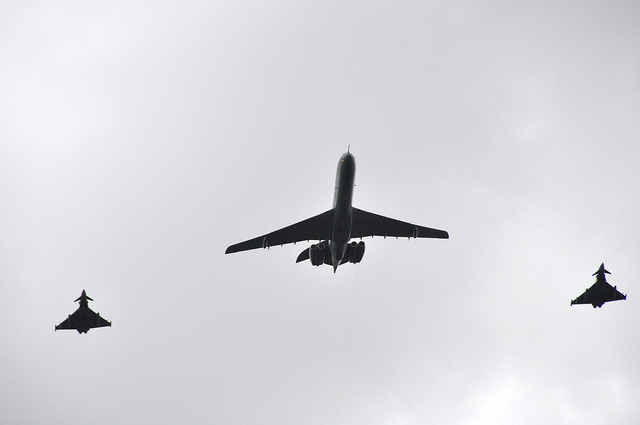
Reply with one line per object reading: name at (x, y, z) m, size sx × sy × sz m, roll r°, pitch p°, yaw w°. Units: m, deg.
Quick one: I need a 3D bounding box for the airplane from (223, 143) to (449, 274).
airplane at (2.769, 1.003, 117.256) m, size 25.504 × 5.204 × 20.713 m, roll 8°, pitch -48°, yaw -21°

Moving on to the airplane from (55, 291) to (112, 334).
airplane at (-27.491, 11.800, 113.205) m, size 6.687 × 1.308 × 5.492 m, roll -5°, pitch -68°, yaw -19°

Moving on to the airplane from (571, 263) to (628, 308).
airplane at (32.528, 8.604, 114.602) m, size 6.917 × 5.758 × 2.071 m, roll -17°, pitch -42°, yaw 30°
